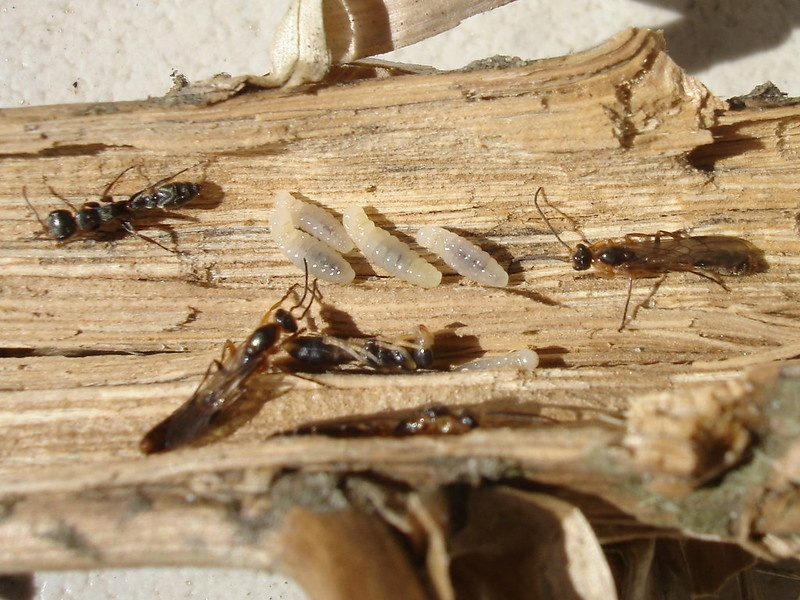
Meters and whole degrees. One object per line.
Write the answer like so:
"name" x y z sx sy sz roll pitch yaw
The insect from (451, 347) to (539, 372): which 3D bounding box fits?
"insect" 0.577 0.370 5.611 0.529 0.113 0.162 -3 13 13
